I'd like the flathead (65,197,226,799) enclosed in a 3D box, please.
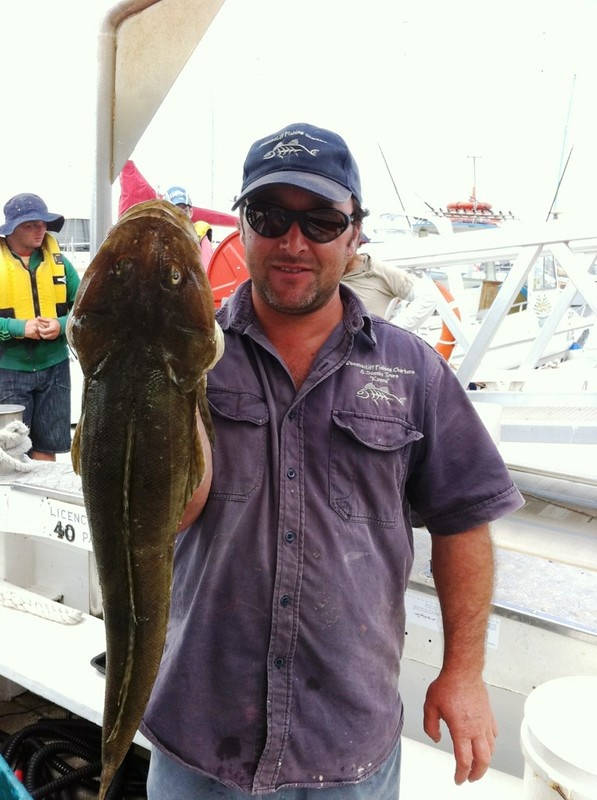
[{"bbox_3d":[-0.329,0.232,1.705,0.350,1.285,0.335,7,13,-3],"label":"flathead"}]

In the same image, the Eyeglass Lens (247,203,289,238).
[{"bbox_3d":[-0.079,-0.473,1.986,0.125,0.092,0.033,7,9,26],"label":"Eyeglass Lens"}]

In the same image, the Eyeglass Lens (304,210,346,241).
[{"bbox_3d":[0.072,-0.459,1.994,0.129,0.092,0.030,-1,9,-29],"label":"Eyeglass Lens"}]
